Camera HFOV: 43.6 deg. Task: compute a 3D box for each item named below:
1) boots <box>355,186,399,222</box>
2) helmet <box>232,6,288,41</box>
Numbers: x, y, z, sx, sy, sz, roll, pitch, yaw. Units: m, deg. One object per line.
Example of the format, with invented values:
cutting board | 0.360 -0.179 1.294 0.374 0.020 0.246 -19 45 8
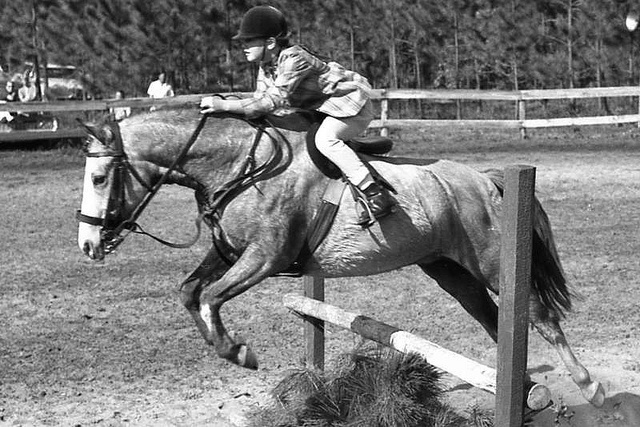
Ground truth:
boots | 0.486 -0.172 7.100 0.276 0.102 0.356 -27 49 -6
helmet | -0.529 -1.682 7.177 0.441 0.196 0.307 -3 10 -14
